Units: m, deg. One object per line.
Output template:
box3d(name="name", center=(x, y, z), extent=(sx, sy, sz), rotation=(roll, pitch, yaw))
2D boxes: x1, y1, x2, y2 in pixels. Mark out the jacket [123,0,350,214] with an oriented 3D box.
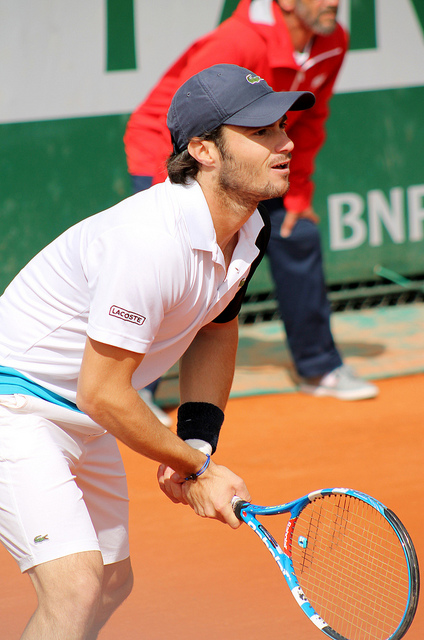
box3d(name="jacket", center=(0.216, -1.063, 3.387), extent=(1.384, 1.217, 0.661), rotation=(-30, 29, -34))
